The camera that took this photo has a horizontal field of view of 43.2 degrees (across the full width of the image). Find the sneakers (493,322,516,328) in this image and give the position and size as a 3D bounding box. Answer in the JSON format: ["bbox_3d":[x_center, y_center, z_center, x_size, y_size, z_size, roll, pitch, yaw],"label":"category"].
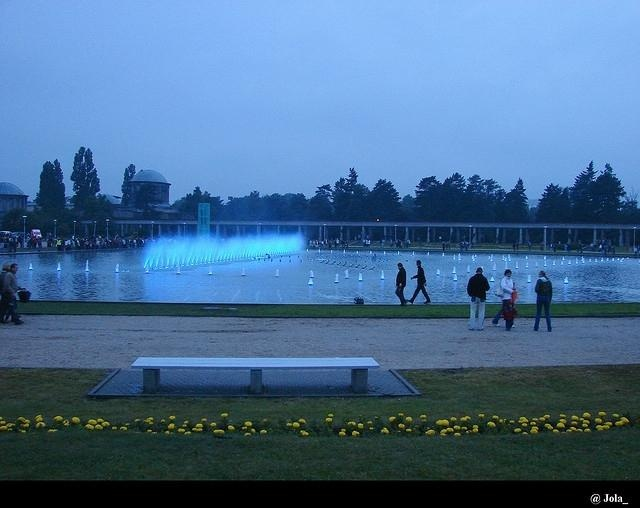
[{"bbox_3d":[4.950,1.916,21.693,0.651,0.195,0.181,2,-3,20],"label":"sneakers"}]
